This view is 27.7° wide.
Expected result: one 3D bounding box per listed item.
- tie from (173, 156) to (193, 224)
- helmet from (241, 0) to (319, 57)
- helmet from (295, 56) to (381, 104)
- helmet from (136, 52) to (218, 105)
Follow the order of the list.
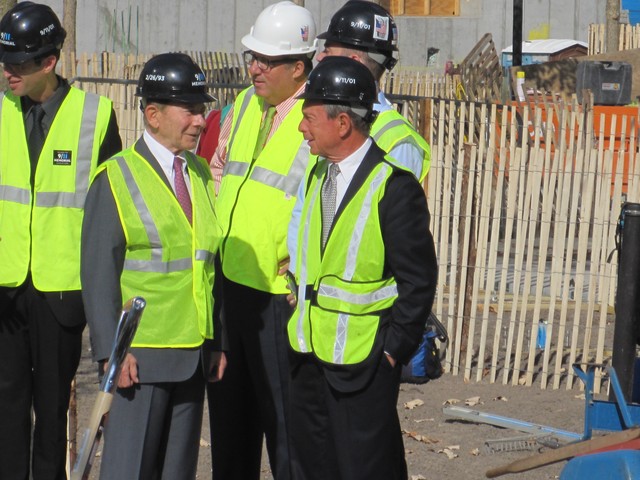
[{"bbox_3d":[-0.892,-0.306,8.365,0.112,0.044,0.517,4,54,-14],"label":"tie"},{"bbox_3d":[-0.259,-1.462,8.980,0.376,0.275,0.451,23,21,37],"label":"helmet"},{"bbox_3d":[0.121,-1.046,8.362,0.530,0.336,0.453,4,4,-7],"label":"helmet"},{"bbox_3d":[-0.953,-1.083,8.474,0.527,0.336,0.435,5,9,29],"label":"helmet"}]
